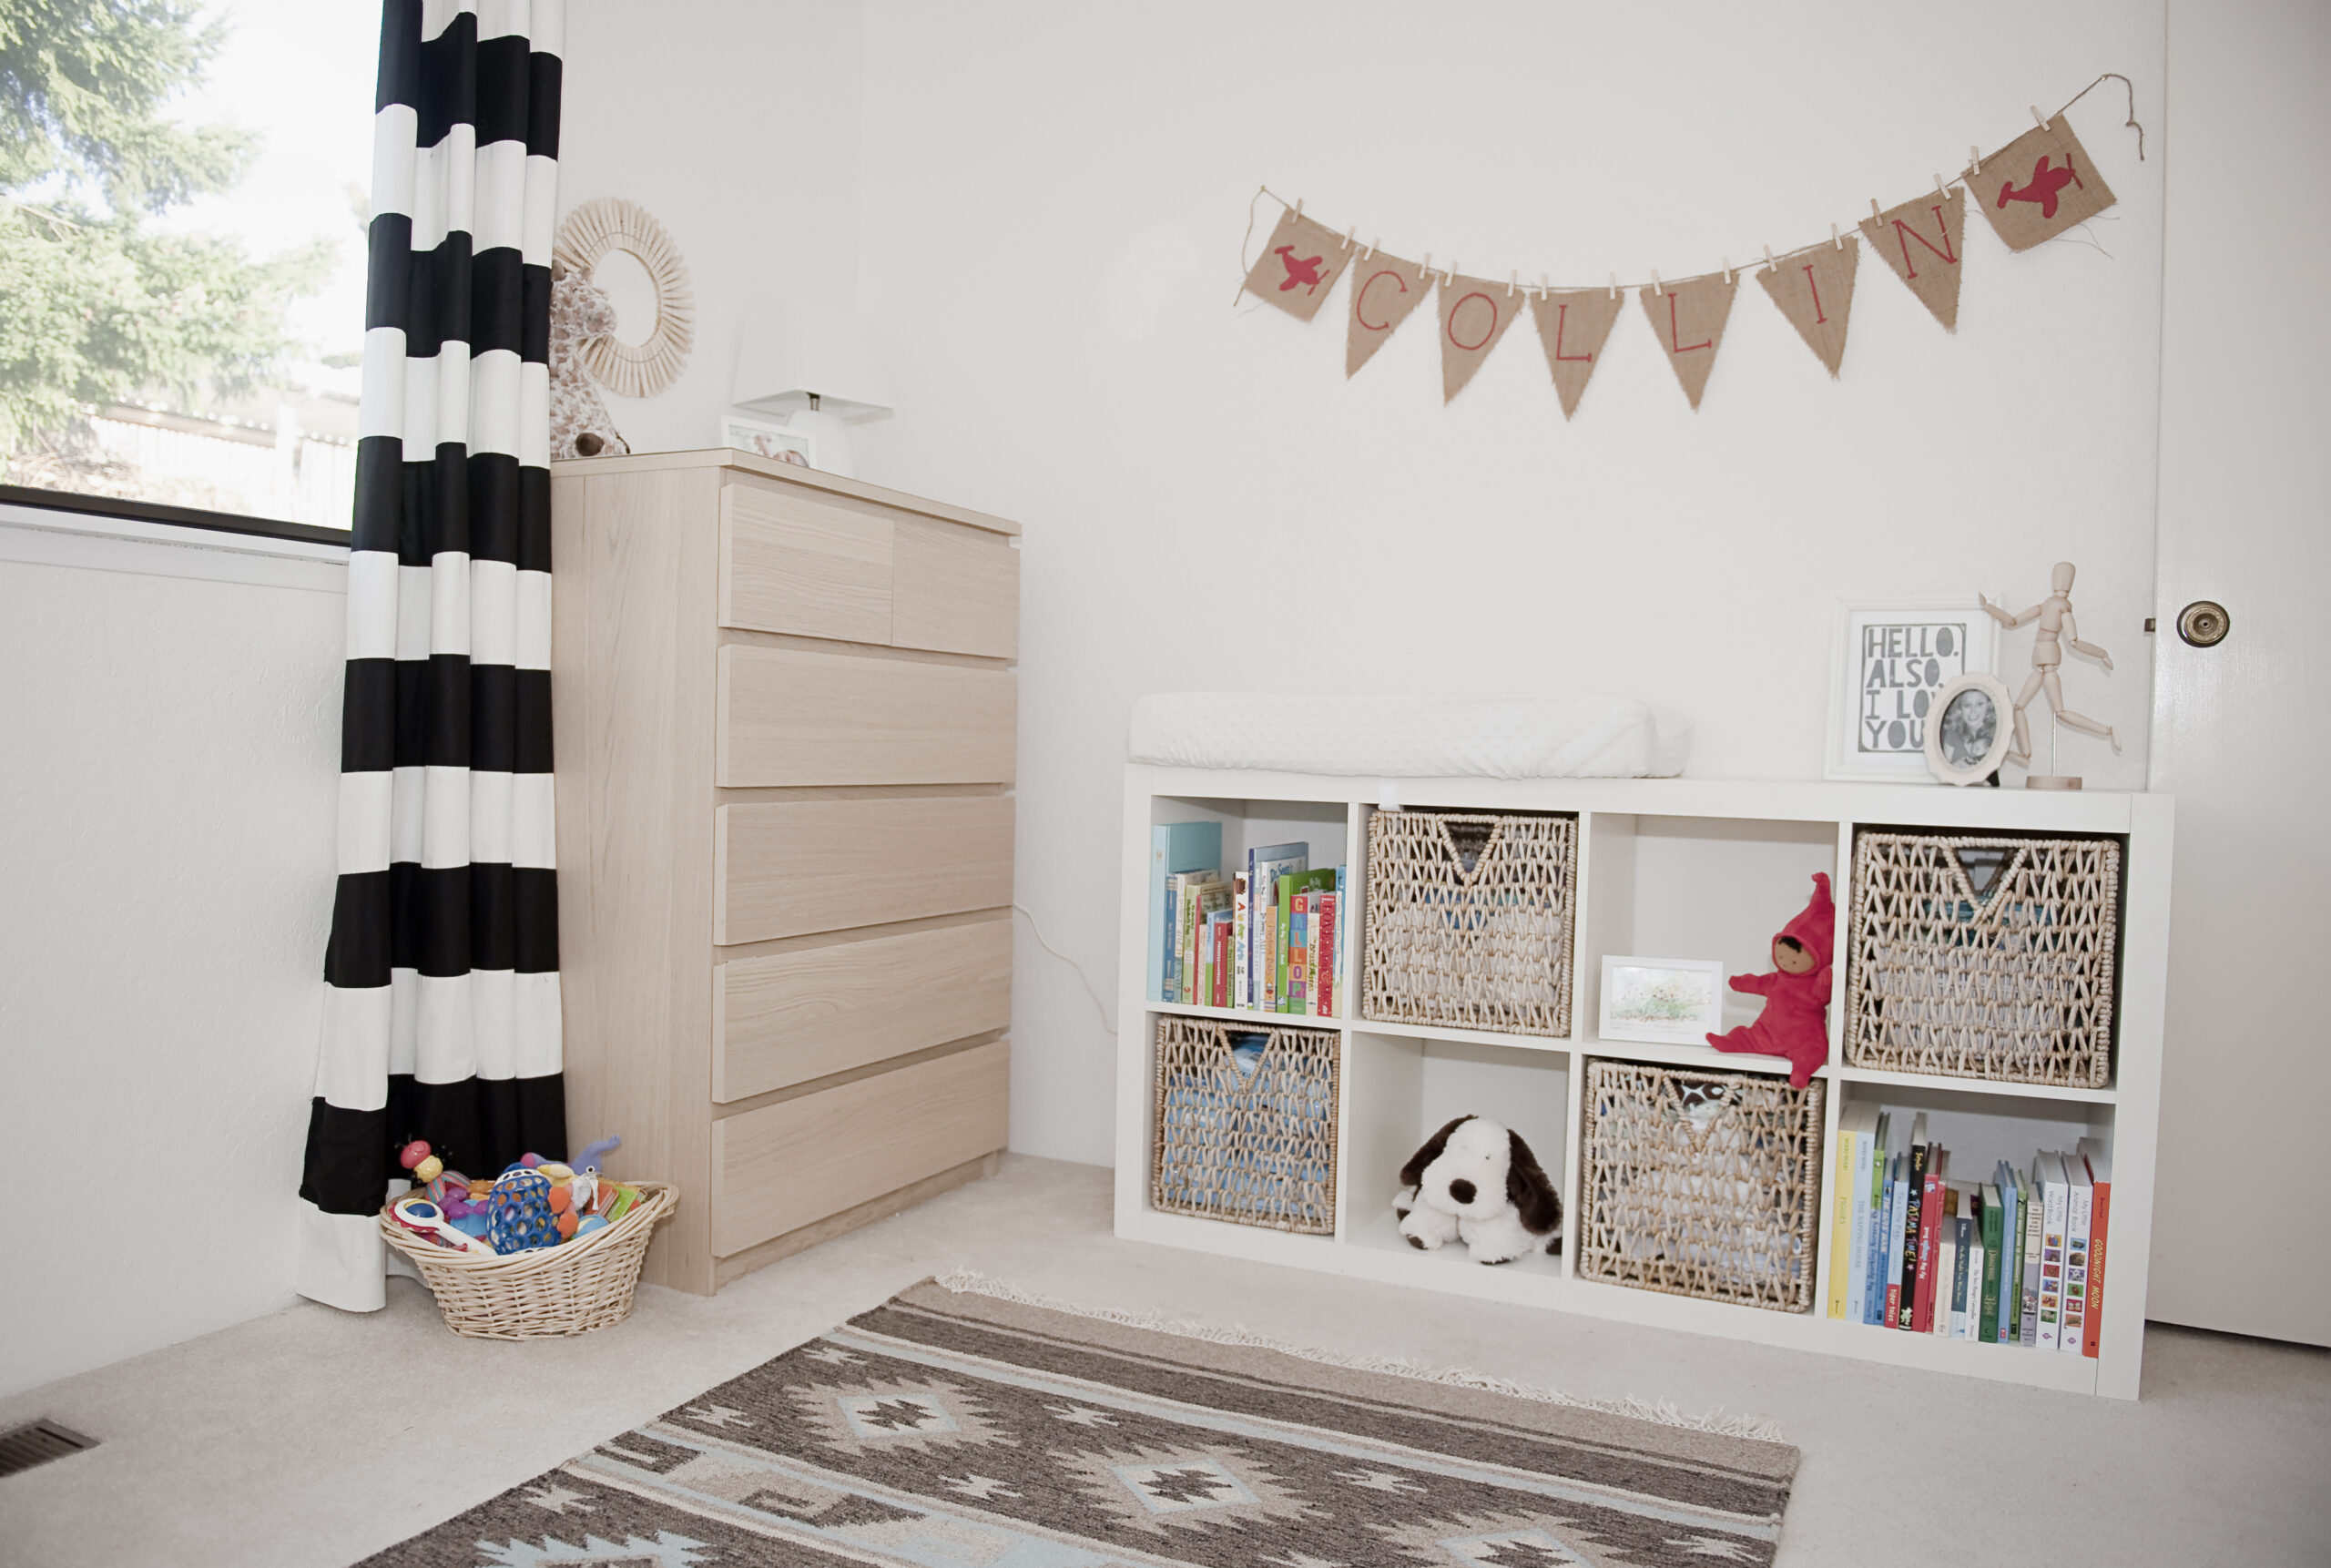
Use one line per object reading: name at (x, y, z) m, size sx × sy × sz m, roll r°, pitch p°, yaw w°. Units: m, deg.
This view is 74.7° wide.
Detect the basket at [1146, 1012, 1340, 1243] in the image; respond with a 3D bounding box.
basket at (0.182, 0.668, 3.444) m, size 0.517 × 0.529 × 0.394 m, roll 2°, pitch 1°, yaw 25°

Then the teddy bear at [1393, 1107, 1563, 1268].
teddy bear at (0.636, 0.824, 3.161) m, size 0.244 × 0.173 × 0.331 m, roll -1°, pitch -6°, yaw 26°

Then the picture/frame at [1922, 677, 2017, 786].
picture/frame at (1.523, -0.103, 2.910) m, size 0.149 × 0.198 × 0.089 m, roll 7°, pitch 13°, yaw 28°

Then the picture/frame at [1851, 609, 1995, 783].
picture/frame at (1.527, -0.176, 3.077) m, size 0.339 × 0.479 × 0.022 m, roll -1°, pitch -6°, yaw 29°

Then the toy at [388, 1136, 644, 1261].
toy at (-1.243, 0.789, 2.873) m, size 0.290 × 0.111 × 0.245 m, roll 5°, pitch -2°, yaw -12°

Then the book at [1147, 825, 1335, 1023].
book at (0.208, 0.306, 3.417) m, size 0.354 × 0.484 × 0.489 m, roll 1°, pitch 0°, yaw 20°

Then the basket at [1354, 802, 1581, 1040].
basket at (0.613, 0.274, 3.181) m, size 0.419 × 0.427 × 0.436 m, roll 2°, pitch -4°, yaw 9°

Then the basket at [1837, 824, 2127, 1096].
basket at (1.523, 0.309, 2.952) m, size 0.463 × 0.456 × 0.466 m, roll 2°, pitch -1°, yaw 18°

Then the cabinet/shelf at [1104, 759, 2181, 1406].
cabinet/shelf at (0.930, 0.540, 3.362) m, size 2.069 × 1.198 × 0.585 m, roll 2°, pitch 5°, yaw 22°

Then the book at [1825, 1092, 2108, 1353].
book at (1.479, 0.857, 2.854) m, size 0.529 × 0.377 × 0.379 m, roll 1°, pitch -3°, yaw 24°

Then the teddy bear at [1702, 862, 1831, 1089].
teddy bear at (1.195, 0.375, 2.952) m, size 0.261 × 0.359 × 0.176 m, roll -2°, pitch 12°, yaw -17°

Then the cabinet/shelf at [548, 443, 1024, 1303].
cabinet/shelf at (-0.761, 0.151, 3.208) m, size 0.974 × 1.655 × 0.611 m, roll -4°, pitch 12°, yaw -22°
